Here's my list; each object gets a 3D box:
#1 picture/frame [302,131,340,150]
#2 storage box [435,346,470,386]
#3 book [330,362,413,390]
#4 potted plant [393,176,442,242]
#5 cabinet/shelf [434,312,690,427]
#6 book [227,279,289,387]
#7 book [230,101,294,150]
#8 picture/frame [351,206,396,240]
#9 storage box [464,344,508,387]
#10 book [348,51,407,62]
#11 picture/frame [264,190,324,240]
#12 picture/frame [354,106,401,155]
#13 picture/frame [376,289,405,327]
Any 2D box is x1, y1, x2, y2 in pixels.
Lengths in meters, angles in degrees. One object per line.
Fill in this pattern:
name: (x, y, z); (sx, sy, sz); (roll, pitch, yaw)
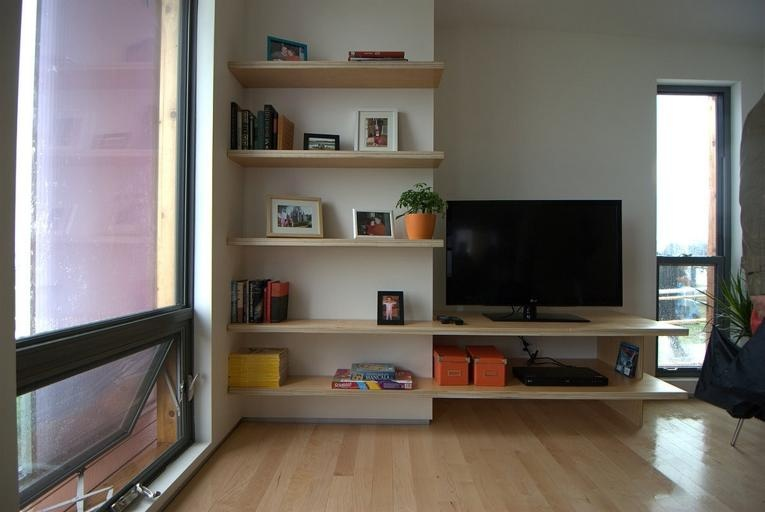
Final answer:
picture/frame: (-0.430, -0.804, 4.034); (0.252, 0.127, 0.120); (0, 5, -7)
storage box: (0.493, 0.764, 4.035); (0.197, 0.166, 0.345); (1, -4, 3)
book: (-0.067, 0.834, 3.980); (0.554, 0.121, 0.244); (1, 5, 1)
potted plant: (0.264, -0.300, 4.024); (0.338, 0.375, 0.349); (-1, -3, 19)
cabinet/shelf: (1.249, 0.808, 4.242); (1.847, 0.735, 0.838); (1, 5, 1)
book: (-0.853, 0.525, 3.973); (0.412, 0.719, 0.251); (0, 5, -10)
book: (-0.819, -0.838, 4.016); (0.311, 0.417, 0.424); (0, 3, 9)
picture/frame: (-0.058, -0.230, 4.028); (0.264, 0.194, 0.023); (1, -24, -6)
storage box: (0.732, 0.776, 4.064); (0.282, 0.216, 0.284); (1, 5, 5)
book: (-0.042, -1.342, 3.875); (0.373, 0.064, 0.040); (1, 5, -1)
picture/frame: (-0.617, -0.275, 3.990); (0.359, 0.261, 0.026); (0, -11, -11)
picture/frame: (-0.039, -0.871, 4.027); (0.385, 0.441, 0.031); (0, -9, -1)
picture/frame: (0.055, 0.365, 3.976); (0.227, 0.289, 0.031); (1, -11, -1)
